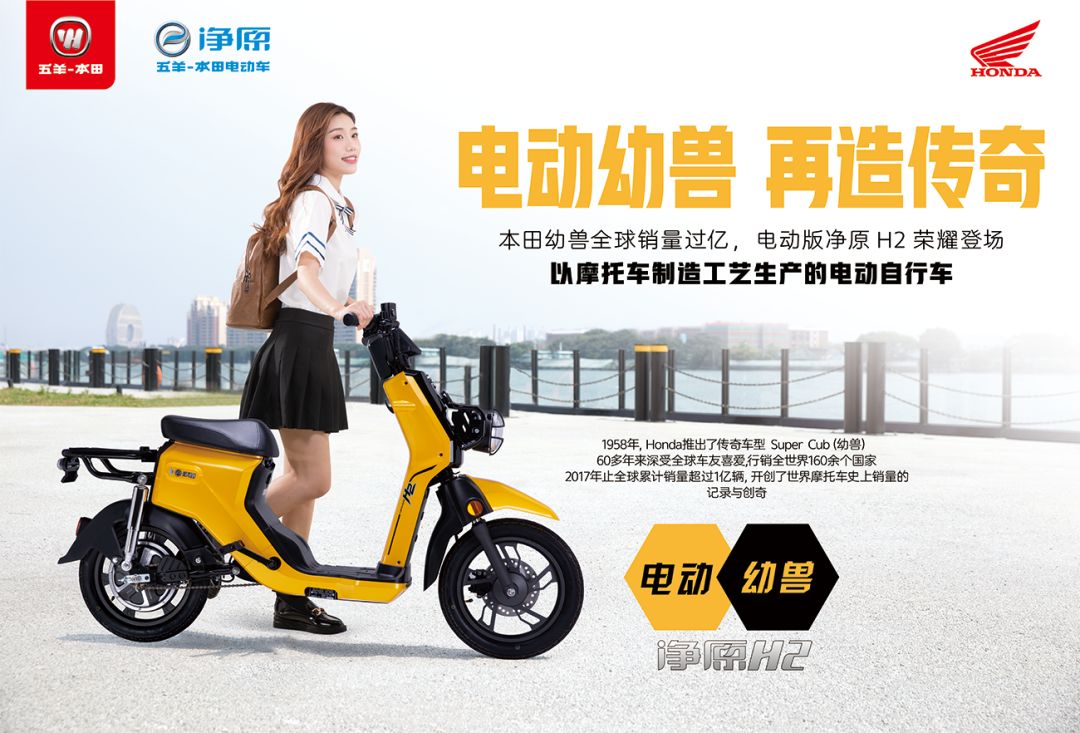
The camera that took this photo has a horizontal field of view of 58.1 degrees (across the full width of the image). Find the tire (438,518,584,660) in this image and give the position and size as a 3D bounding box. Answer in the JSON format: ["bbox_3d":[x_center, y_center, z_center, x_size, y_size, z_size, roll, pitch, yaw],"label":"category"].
[{"bbox_3d":[-0.137,1.161,5.692,0.768,0.834,0.796,1,3,3],"label":"tire"}]

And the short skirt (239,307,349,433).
[{"bbox_3d":[-1.501,-0.021,6.028,0.545,0.767,0.753,15,10,-10],"label":"short skirt"}]

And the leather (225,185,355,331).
[{"bbox_3d":[-1.571,-0.612,5.981,0.739,0.765,0.557,8,6,20],"label":"leather"}]

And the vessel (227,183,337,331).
[{"bbox_3d":[-1.537,-0.545,6.020,0.705,0.722,0.496,-4,-15,21],"label":"vessel"}]

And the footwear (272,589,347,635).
[{"bbox_3d":[-1.401,1.502,5.958,0.448,0.293,0.204,0,-1,4],"label":"footwear"}]

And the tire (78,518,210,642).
[{"bbox_3d":[-2.283,1.215,5.611,0.689,0.783,0.161,0,4,2],"label":"tire"}]

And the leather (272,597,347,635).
[{"bbox_3d":[-1.408,1.504,5.960,0.435,0.288,0.199,1,-1,3],"label":"leather"}]

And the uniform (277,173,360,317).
[{"bbox_3d":[-1.337,-0.771,6.073,0.432,0.833,0.848,6,7,1],"label":"uniform"}]
